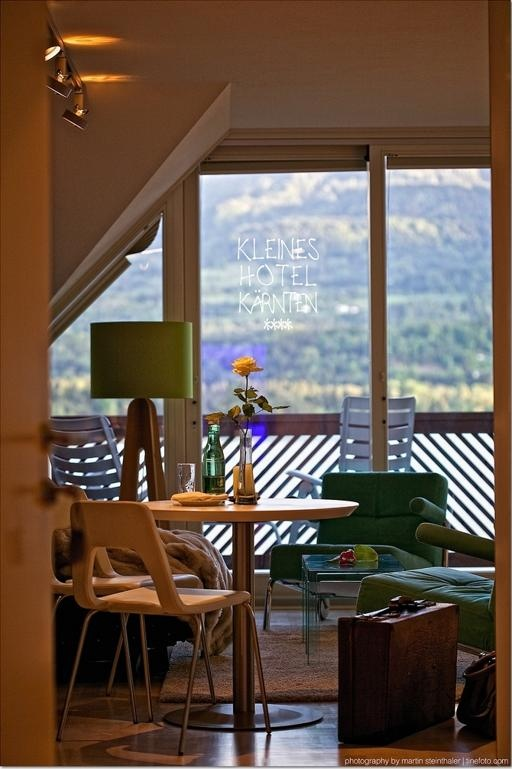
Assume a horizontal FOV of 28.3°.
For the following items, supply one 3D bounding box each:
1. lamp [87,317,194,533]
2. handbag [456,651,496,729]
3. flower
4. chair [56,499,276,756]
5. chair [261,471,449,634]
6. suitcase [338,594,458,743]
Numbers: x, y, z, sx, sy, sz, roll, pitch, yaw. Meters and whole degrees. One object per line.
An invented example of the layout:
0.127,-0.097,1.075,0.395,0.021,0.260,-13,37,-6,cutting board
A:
-0.460,0.107,4.107,0.388,0.852,0.386,-13,25,-36,lamp
0.697,0.939,3.098,0.173,0.196,0.103,-3,11,-33,handbag
-0.020,0.026,3.298,0.188,0.212,0.188,0,7,3,flower
-0.288,0.679,3.012,0.491,0.721,0.534,-3,-4,41,chair
0.469,0.737,4.543,0.715,0.734,0.877,-2,-7,18,chair
0.454,0.871,3.118,0.143,0.392,0.422,0,-1,44,suitcase
